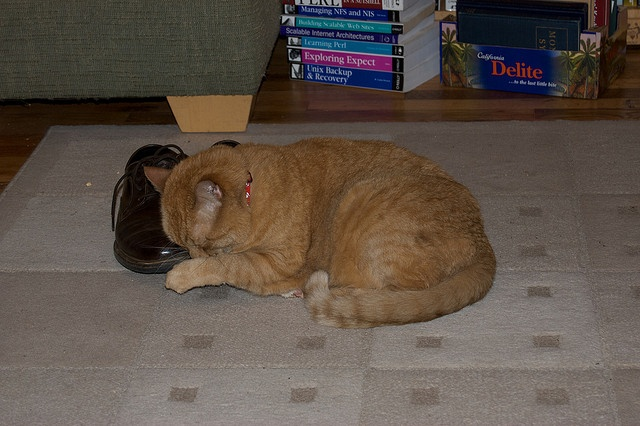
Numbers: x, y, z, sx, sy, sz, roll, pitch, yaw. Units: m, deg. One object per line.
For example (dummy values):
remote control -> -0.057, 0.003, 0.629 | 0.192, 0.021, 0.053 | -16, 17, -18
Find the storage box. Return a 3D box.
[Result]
storage box -> 1.211, -0.838, 3.450 | 0.804, 0.256, 0.690 | 5, 20, 21

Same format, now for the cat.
cat -> 0.004, 0.068, 2.149 | 1.058, 0.330, 0.728 | -8, 34, -1
